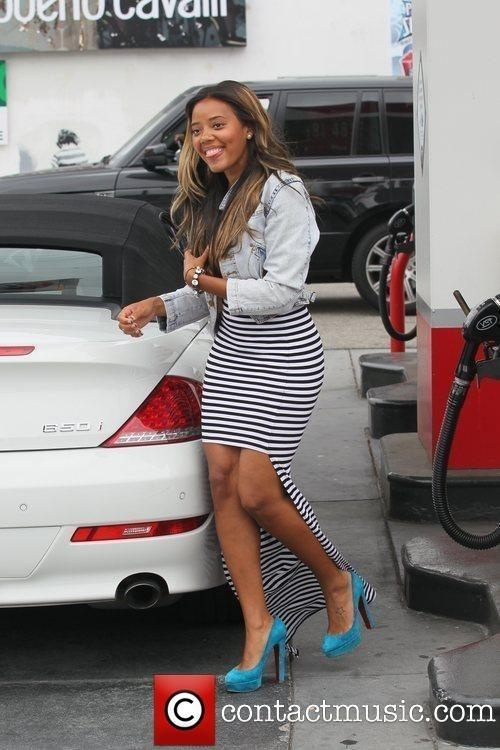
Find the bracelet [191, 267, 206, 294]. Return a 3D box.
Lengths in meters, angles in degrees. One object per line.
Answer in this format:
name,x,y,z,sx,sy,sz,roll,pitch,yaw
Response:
bracelet,-0.144,-0.263,2.099,0.042,0.061,0.063,4,33,1

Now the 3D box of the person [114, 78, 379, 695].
person,0.003,0.117,2.212,0.548,1.810,0.875,-12,25,-7
